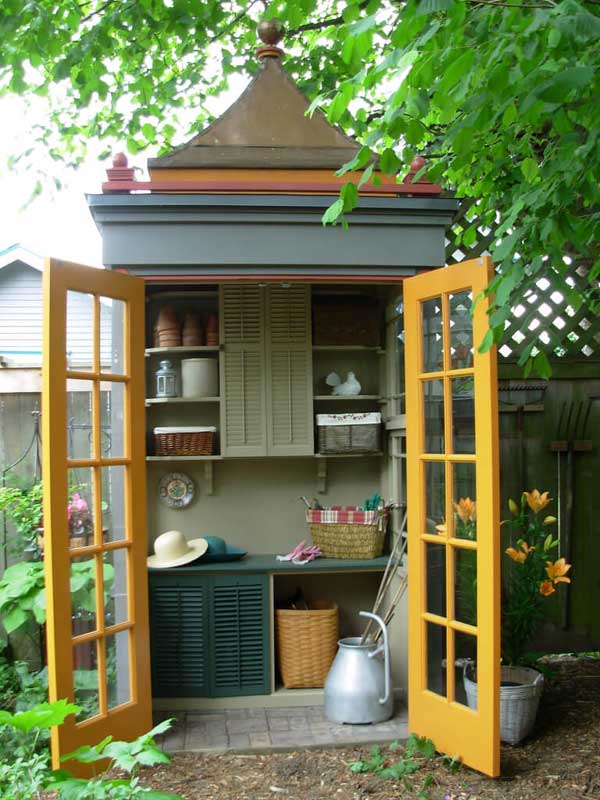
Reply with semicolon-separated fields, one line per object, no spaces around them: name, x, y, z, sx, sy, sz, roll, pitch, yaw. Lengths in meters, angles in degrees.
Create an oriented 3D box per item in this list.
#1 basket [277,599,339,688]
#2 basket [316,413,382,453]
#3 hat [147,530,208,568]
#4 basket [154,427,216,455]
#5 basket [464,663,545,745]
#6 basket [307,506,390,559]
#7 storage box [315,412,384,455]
basket;0.041;1.273;3.749;0.395;0.432;0.369;0;-12;-1
basket;0.255;0.181;3.888;0.256;0.148;0.246;-1;-1;2
hat;-0.616;0.755;3.658;0.304;0.164;0.264;-1;-3;-11
basket;-0.600;0.219;3.798;0.241;0.108;0.163;-1;-2;-2
basket;0.865;1.275;3.052;0.299;0.255;0.309;-3;-9;18
basket;0.248;0.681;3.697;0.381;0.218;0.268;-1;-10;5
storage box;0.256;0.179;3.890;0.264;0.150;0.255;-1;-4;2
